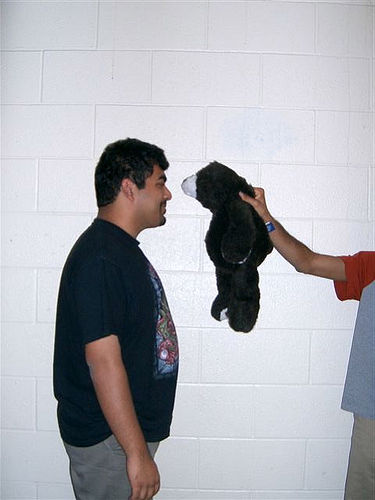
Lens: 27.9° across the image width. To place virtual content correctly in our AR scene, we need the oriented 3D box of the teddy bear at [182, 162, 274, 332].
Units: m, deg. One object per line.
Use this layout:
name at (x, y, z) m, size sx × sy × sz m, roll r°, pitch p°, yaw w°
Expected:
teddy bear at (0.120, 0.000, 2.153) m, size 0.264 × 0.247 × 0.489 m, roll -1°, pitch 96°, yaw 12°
